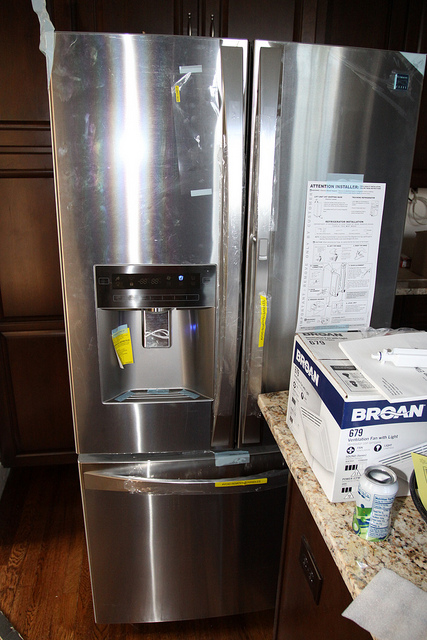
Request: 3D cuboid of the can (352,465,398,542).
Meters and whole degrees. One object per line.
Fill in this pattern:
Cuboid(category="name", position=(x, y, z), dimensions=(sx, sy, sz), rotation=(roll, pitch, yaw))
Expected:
Cuboid(category="can", position=(0.237, 0.271, 0.644), dimensions=(0.055, 0.126, 0.065), rotation=(3, 26, 8))
